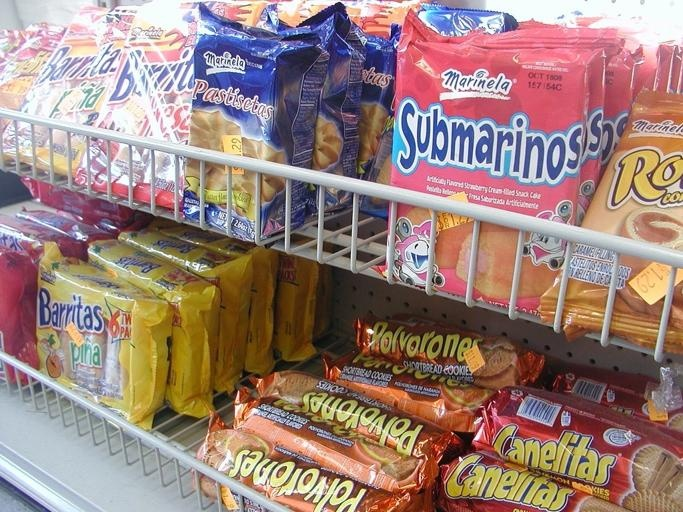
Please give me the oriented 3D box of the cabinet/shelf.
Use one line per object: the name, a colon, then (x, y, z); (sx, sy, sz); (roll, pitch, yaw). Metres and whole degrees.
cabinet/shelf: (-0.020, -0.074, 1.012); (1.060, 0.242, 0.210); (11, 20, 26)
